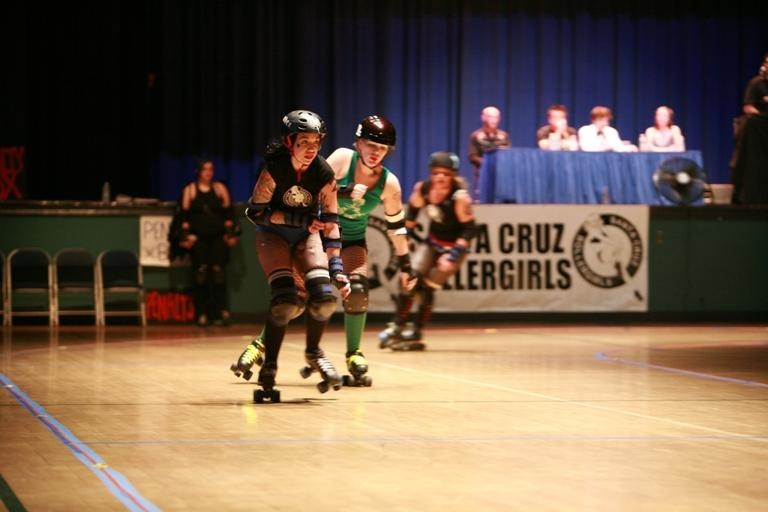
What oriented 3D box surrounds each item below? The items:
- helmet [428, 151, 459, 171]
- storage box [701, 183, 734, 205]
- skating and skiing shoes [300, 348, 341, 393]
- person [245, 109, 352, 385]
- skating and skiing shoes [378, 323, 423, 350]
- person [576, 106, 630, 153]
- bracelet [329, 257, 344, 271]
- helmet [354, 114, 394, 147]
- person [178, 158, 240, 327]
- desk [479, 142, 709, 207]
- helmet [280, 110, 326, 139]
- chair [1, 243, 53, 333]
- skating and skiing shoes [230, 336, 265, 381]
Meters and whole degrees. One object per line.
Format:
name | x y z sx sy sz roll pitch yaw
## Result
helmet | 0.648 -0.967 8.593 0.233 0.183 0.337 9 6 10
storage box | 5.045 -0.919 12.487 0.399 0.259 0.212 1 -8 -7
skating and skiing shoes | -0.468 0.855 6.433 0.186 0.279 0.539 -19 18 -19
person | -0.628 -0.011 6.155 0.743 2.084 0.518 -1 2 -22
skating and skiing shoes | 0.190 0.870 8.753 0.292 0.150 0.390 1 -1 28
person | 3.614 -2.038 13.277 0.735 0.872 1.113 -4 7 -17
bracelet | -0.364 0.070 6.366 0.102 0.076 0.096 -1 -4 -9
helmet | -0.070 -1.033 6.861 0.301 0.277 0.355 -1 2 -5
person | -2.313 -0.174 10.970 0.708 2.163 0.205 -1 2 -13
desk | 2.747 -1.101 11.604 2.373 0.752 0.283 -1 2 -12
helmet | -0.616 -0.962 5.993 0.271 0.126 0.197 -3 -1 42
chair | -4.692 0.392 11.201 0.803 1.290 0.943 0 -1 -7
skating and skiing shoes | -1.064 0.816 6.541 0.144 0.205 0.445 19 14 -2
